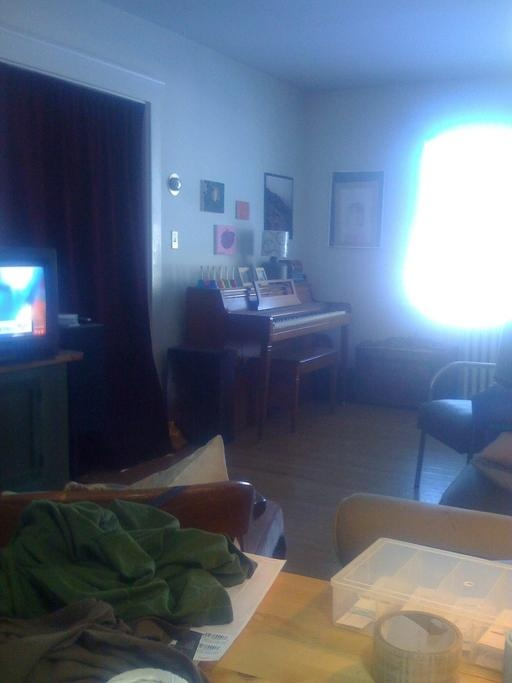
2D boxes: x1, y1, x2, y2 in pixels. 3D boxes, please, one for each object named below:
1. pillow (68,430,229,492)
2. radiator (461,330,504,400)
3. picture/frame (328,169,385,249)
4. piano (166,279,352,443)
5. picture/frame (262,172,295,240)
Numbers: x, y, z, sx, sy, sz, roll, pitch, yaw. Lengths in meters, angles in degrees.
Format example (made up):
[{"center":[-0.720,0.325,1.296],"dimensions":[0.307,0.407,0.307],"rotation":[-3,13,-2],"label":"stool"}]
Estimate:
[{"center":[-0.578,0.556,2.436],"dimensions":[0.345,0.161,0.417],"rotation":[-22,-5,7],"label":"pillow"},{"center":[2.063,0.201,4.685],"dimensions":[0.265,0.629,0.038],"rotation":[-1,-13,29],"label":"radiator"},{"center":[1.009,-1.302,5.154],"dimensions":[0.554,0.848,0.098],"rotation":[8,49,18],"label":"picture/frame"},{"center":[0.146,0.096,4.132],"dimensions":[0.735,1.365,1.376],"rotation":[-5,1,44],"label":"piano"},{"center":[0.200,-1.280,4.834],"dimensions":[0.020,0.720,0.595],"rotation":[3,7,23],"label":"picture/frame"}]
